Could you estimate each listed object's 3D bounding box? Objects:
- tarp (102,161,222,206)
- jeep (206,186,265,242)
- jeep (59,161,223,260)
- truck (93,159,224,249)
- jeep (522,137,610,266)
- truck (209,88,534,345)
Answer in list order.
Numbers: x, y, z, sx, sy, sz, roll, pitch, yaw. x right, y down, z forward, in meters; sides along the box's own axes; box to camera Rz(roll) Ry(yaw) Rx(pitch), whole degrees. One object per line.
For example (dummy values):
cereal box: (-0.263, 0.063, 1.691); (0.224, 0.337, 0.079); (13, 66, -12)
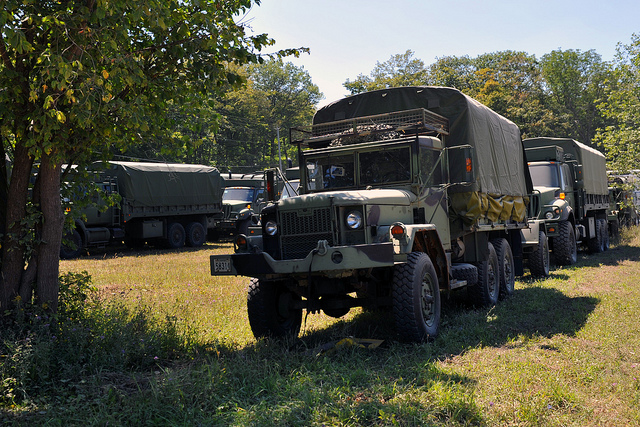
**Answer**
tarp: (-6.275, -0.969, 23.474); (1.719, 1.813, 5.779); (-10, -1, 26)
jeep: (-3.551, -0.188, 27.625); (2.180, 3.014, 4.621); (2, 1, 19)
jeep: (-6.950, -0.371, 22.693); (6.864, 3.664, 2.067); (-2, 5, -44)
truck: (-6.219, -0.381, 23.726); (1.966, 3.419, 5.719); (6, 5, 29)
jeep: (7.953, -0.441, 19.420); (2.330, 4.106, 6.508); (-7, -4, 41)
truck: (1.281, -0.213, 10.816); (2.965, 4.746, 6.354); (-7, -6, 39)
